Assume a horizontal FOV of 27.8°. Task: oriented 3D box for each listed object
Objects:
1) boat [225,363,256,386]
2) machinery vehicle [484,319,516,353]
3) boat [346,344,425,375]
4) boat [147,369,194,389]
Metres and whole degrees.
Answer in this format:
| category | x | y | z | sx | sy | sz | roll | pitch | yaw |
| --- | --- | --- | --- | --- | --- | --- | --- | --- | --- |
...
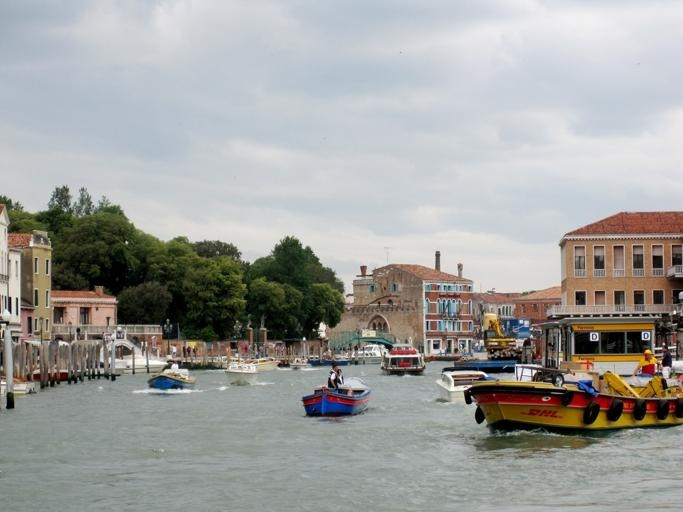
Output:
| category | x | y | z | sx | sy | sz | roll | pitch | yaw |
| --- | --- | --- | --- | --- | --- | --- | --- | --- | --- |
| boat | -7.195 | 8.511 | 98.722 | 1.595 | 1.078 | 4.297 | 1 | -1 | 0 |
| machinery vehicle | 13.971 | 7.056 | 123.088 | 2.623 | 3.361 | 7.217 | -2 | -5 | 6 |
| boat | 4.785 | 8.757 | 116.395 | 2.888 | 2.154 | 8.596 | 1 | -6 | -2 |
| boat | -10.938 | 8.141 | 89.825 | 1.445 | 1.277 | 2.871 | 2 | 7 | 33 |
